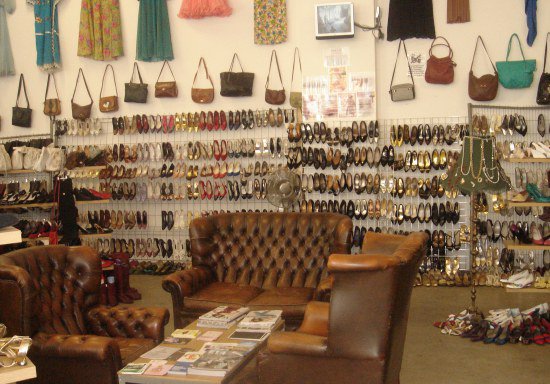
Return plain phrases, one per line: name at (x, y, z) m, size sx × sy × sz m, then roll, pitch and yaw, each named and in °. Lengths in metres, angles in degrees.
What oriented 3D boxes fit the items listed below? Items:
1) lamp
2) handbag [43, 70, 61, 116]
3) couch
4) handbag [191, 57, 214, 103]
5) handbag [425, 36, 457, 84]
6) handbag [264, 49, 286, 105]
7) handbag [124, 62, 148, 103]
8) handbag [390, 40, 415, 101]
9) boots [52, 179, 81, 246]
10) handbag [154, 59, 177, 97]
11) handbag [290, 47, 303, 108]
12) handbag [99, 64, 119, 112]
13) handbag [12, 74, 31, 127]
lamp at (2.498, 0.394, 6.292) m, size 0.740 × 2.288 × 1.537 m, roll 3°, pitch 12°, yaw 24°
handbag at (-3.932, -1.731, 8.830) m, size 0.288 × 0.808 × 0.373 m, roll -7°, pitch 12°, yaw -25°
couch at (-0.103, 0.959, 5.622) m, size 1.935 × 1.526 × 1.209 m, roll 1°, pitch 1°, yaw 19°
handbag at (-1.197, -1.860, 8.320) m, size 0.378 × 0.776 × 0.284 m, roll -3°, pitch 11°, yaw -7°
handbag at (2.538, -1.980, 7.654) m, size 0.447 × 0.770 × 0.194 m, roll 2°, pitch -4°, yaw 5°
handbag at (0.003, -1.855, 8.064) m, size 0.327 × 0.888 × 0.295 m, roll -2°, pitch 11°, yaw 1°
handbag at (-2.361, -1.864, 8.518) m, size 0.427 × 0.714 × 0.324 m, roll -2°, pitch 11°, yaw 2°
handbag at (1.976, -1.892, 7.790) m, size 0.398 × 0.956 × 0.282 m, roll 1°, pitch 11°, yaw 16°
boots at (-2.792, 0.257, 6.757) m, size 0.260 × 0.877 × 0.439 m, roll -6°, pitch 12°, yaw -22°
handbag at (-1.833, -1.906, 8.422) m, size 0.397 × 0.618 × 0.316 m, roll -3°, pitch 11°, yaw -3°
handbag at (0.336, -1.824, 8.018) m, size 0.201 × 1.003 × 0.266 m, roll -1°, pitch 11°, yaw 3°
handbag at (-2.879, -1.799, 8.628) m, size 0.375 × 0.840 × 0.331 m, roll -1°, pitch 11°, yaw 5°
handbag at (-4.531, -1.640, 8.950) m, size 0.345 × 0.971 × 0.397 m, roll -8°, pitch 12°, yaw -28°
